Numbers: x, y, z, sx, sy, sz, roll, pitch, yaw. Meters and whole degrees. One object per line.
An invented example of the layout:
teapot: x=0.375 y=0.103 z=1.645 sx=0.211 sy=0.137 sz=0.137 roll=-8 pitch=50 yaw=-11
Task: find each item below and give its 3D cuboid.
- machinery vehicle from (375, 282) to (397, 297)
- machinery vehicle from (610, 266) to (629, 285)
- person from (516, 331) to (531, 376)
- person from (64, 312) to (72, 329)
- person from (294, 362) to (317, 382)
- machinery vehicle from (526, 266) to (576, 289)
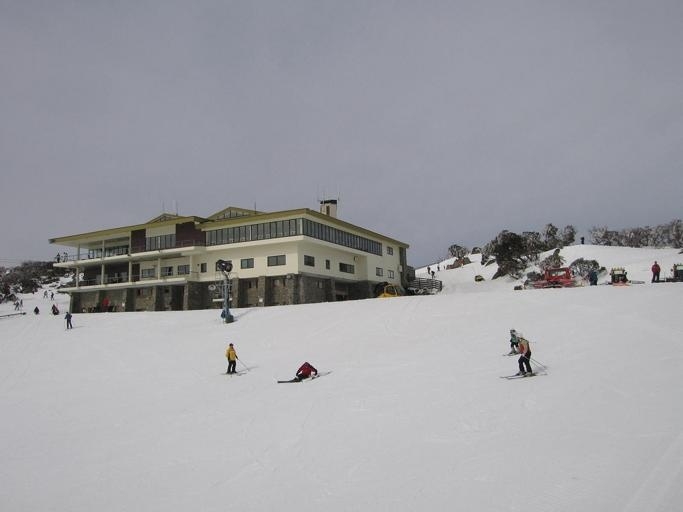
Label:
machinery vehicle: x=4.163 y=3.126 z=59.759 sx=1.662 sy=1.817 sz=1.246 roll=-5 pitch=-6 yaw=23
machinery vehicle: x=24.983 y=1.787 z=57.664 sx=1.003 sy=1.474 sz=0.537 roll=-3 pitch=-9 yaw=27
person: x=9.512 y=5.162 z=33.327 sx=0.687 sy=2.007 sz=1.119 roll=-5 pitch=-9 yaw=14
person: x=-21.481 y=5.198 z=50.806 sx=0.547 sy=1.555 sz=2.775 roll=1 pitch=-11 yaw=-23
person: x=-1.918 y=6.480 z=35.702 sx=1.299 sy=1.014 sz=0.611 roll=0 pitch=-10 yaw=-19
machinery vehicle: x=17.779 y=1.837 z=53.288 sx=2.829 sy=2.086 sz=4.233 roll=-5 pitch=-10 yaw=11
